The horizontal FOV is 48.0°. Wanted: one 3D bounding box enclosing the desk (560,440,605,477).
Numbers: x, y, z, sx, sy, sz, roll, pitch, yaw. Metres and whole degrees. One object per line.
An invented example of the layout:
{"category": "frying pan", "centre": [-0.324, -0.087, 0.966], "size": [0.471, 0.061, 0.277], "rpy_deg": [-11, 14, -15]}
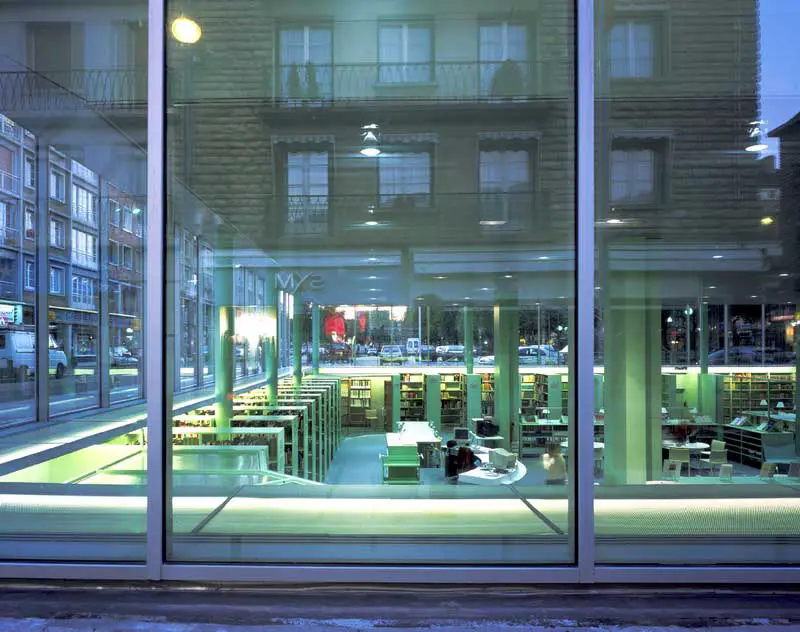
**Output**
{"category": "desk", "centre": [0.989, 0.741, 4.846], "size": [0.185, 0.290, 0.219], "rpy_deg": [1, 4, 6]}

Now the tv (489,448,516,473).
{"category": "tv", "centre": [0.546, 0.782, 4.814], "size": [0.154, 0.120, 0.090], "rpy_deg": [1, -3, 33]}
